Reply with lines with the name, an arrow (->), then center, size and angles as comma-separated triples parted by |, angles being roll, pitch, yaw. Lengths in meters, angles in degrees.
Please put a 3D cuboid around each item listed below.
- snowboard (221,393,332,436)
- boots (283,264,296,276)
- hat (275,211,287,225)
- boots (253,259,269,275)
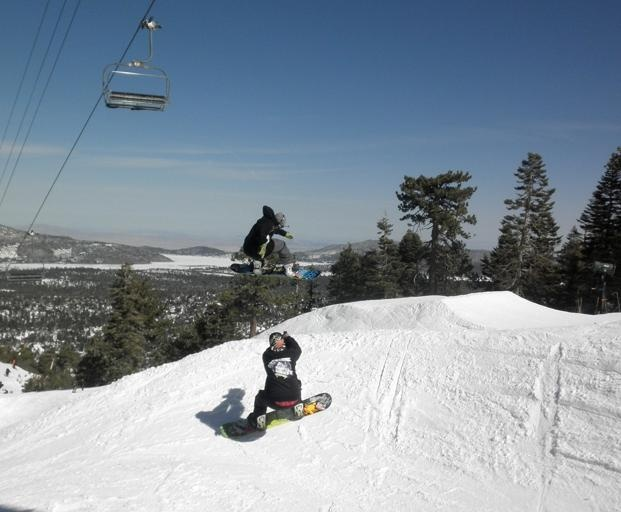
snowboard -> -0.644, 3.377, 12.102 | 2.140, 0.555, 0.368 | -17, 1, -12
boots -> -0.599, 0.364, 15.892 | 0.230, 0.344, 0.102 | -5, 5, -17
hat -> -0.717, -0.923, 14.004 | 0.198, 0.283, 0.486 | 2, 4, -11
boots -> -1.329, 0.263, 15.033 | 0.343, 0.375, 0.646 | 2, 5, -11
